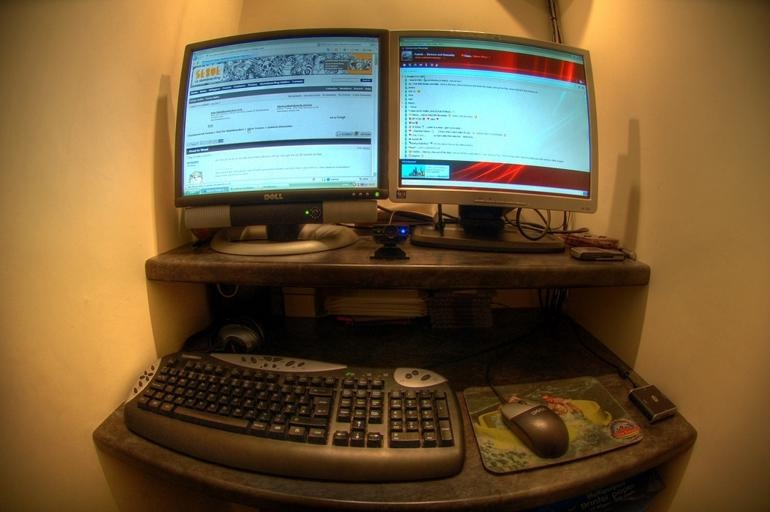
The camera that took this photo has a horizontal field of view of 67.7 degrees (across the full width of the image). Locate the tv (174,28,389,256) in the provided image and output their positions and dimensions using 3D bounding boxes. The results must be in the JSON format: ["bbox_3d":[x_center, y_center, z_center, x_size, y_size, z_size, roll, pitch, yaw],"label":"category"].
[{"bbox_3d":[-0.251,-0.297,1.417,0.682,0.527,0.340,0,6,1],"label":"tv"}]

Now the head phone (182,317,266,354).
[{"bbox_3d":[-0.397,0.194,1.439,0.154,0.045,0.098,2,4,5],"label":"head phone"}]

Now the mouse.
[{"bbox_3d":[0.325,0.358,1.259,0.112,0.058,0.183,-13,23,-16],"label":"mouse"}]
